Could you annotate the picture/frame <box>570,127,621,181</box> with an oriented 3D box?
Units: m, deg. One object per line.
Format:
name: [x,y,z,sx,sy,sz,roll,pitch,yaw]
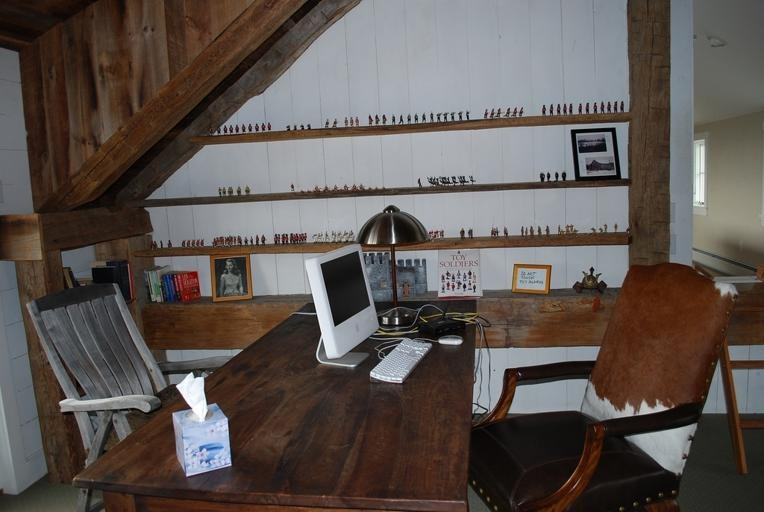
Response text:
picture/frame: [1.656,-0.786,4.170,0.366,0.441,0.019,-4,-1,5]

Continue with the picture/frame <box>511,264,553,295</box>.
picture/frame: [1.177,0.184,4.259,0.217,0.196,0.025,1,-4,11]

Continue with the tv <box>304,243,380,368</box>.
tv: [-0.234,0.300,3.093,0.197,0.601,0.577,-2,10,22]

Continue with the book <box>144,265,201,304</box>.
book: [-1.737,0.229,4.500,0.338,0.122,0.270,0,16,-3]

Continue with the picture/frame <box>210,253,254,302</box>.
picture/frame: [-1.232,0.174,4.437,0.347,0.433,0.029,-2,-3,-9]

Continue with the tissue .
tissue : [-0.776,0.704,2.325,0.231,0.391,0.220,-8,8,-23]
